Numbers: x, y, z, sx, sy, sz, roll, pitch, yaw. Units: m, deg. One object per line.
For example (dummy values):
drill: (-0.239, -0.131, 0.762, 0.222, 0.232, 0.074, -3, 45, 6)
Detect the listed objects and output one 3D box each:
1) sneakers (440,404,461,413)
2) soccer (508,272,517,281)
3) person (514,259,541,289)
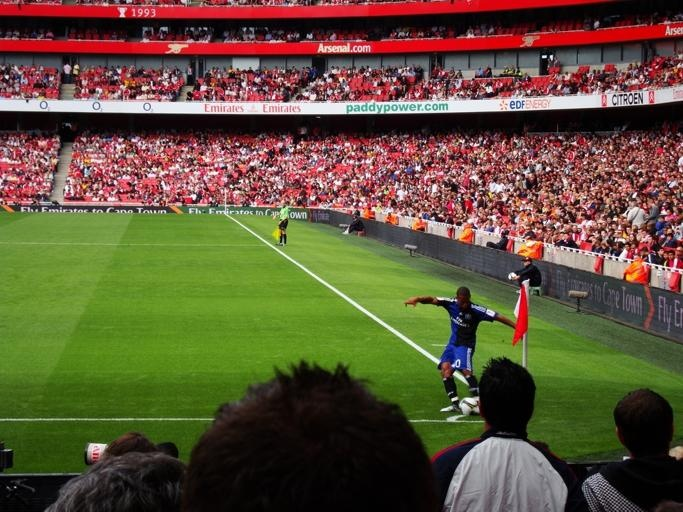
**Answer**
sneakers: (1.701, 2.433, 13.105, 0.405, 0.155, 0.134, 1, 0, 12)
soccer: (4.711, 0.589, 22.620, 0.350, 0.280, 0.484, -1, -3, 11)
person: (5.572, 0.537, 24.365, 0.706, 0.869, 1.443, 8, 7, 15)
